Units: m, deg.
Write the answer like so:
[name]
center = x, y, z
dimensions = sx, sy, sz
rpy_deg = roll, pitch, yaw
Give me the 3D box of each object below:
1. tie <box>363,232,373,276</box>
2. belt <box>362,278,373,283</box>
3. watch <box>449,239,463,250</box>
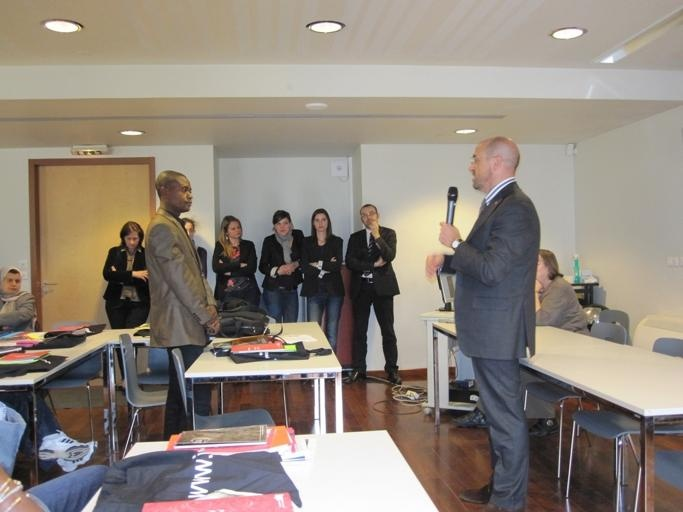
[tie]
center = 0.307, -0.028, 6.306
dimensions = 0.076, 0.532, 0.078
rpy_deg = -7, -25, 28
[belt]
center = 0.295, 0.285, 6.243
dimensions = 0.081, 0.053, 0.026
rpy_deg = 0, 2, 18
[watch]
center = 0.696, -0.069, 3.388
dimensions = 0.069, 0.073, 0.046
rpy_deg = 29, 22, -49
